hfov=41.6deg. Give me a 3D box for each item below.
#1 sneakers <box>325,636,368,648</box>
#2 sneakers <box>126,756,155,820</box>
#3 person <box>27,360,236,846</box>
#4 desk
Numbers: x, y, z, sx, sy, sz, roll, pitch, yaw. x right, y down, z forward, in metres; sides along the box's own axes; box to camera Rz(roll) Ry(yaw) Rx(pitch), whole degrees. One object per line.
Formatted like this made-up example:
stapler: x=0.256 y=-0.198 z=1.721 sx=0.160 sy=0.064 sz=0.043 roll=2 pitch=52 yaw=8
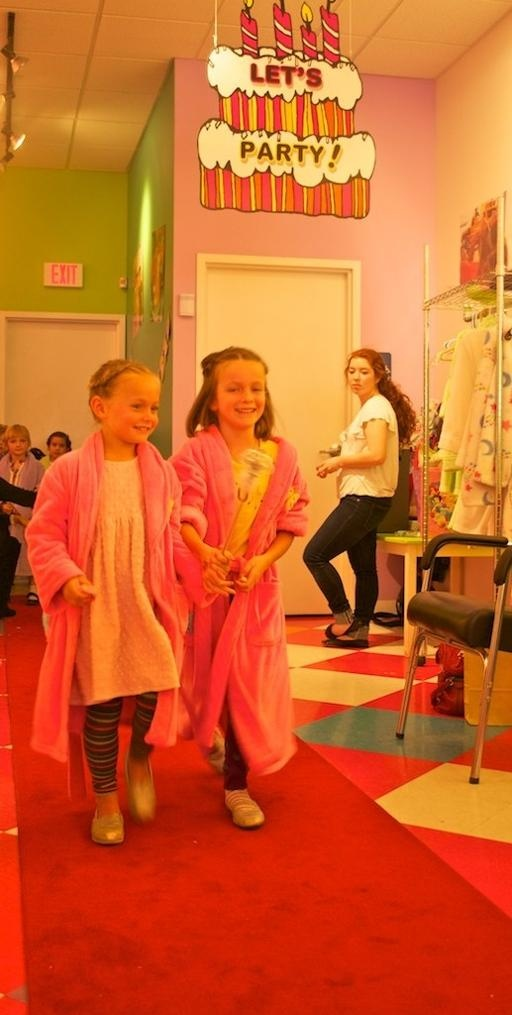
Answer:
sneakers: x=0.524 y=0.788 z=3.922 sx=0.164 sy=0.055 sz=0.102 roll=-2 pitch=-5 yaw=14
sneakers: x=-0.257 y=0.634 z=1.508 sx=0.044 sy=0.154 sz=0.054 roll=0 pitch=-23 yaw=-23
person: x=-0.277 y=0.176 z=1.470 sx=0.432 sy=1.038 sz=0.287 roll=4 pitch=-8 yaw=-22
desk: x=1.044 y=0.342 z=3.850 sx=0.713 sy=0.832 sz=0.681 roll=1 pitch=7 yaw=4
